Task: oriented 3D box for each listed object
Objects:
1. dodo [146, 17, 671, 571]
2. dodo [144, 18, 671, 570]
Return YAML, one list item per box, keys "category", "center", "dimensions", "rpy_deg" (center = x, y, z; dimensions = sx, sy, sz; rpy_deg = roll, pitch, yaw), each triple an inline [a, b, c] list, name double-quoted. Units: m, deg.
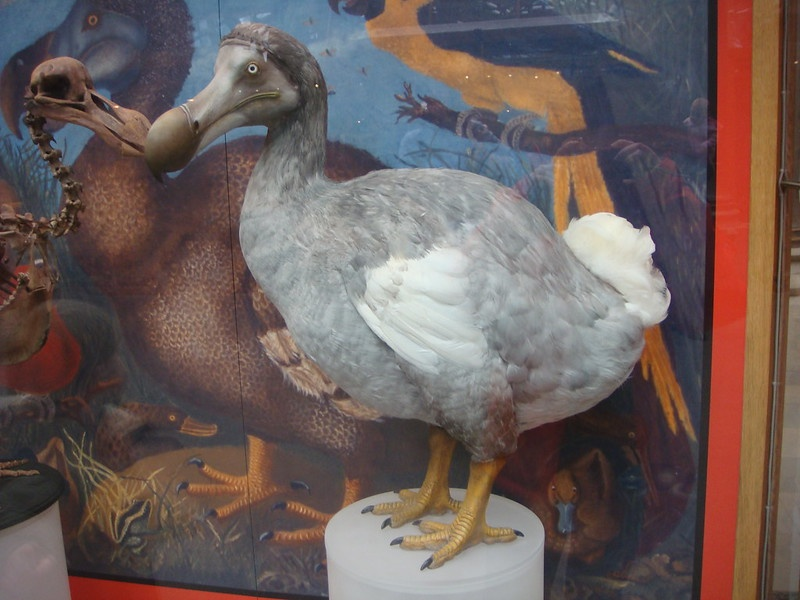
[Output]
- category: "dodo"
  center: [0.044, -0.021, 3.433]
  dimensions: [1.240, 1.300, 0.696]
  rpy_deg: [-3, 8, -14]
- category: "dodo"
  center: [0.041, -0.032, 3.431]
  dimensions: [1.226, 1.305, 0.689]
  rpy_deg: [-4, 10, -14]
